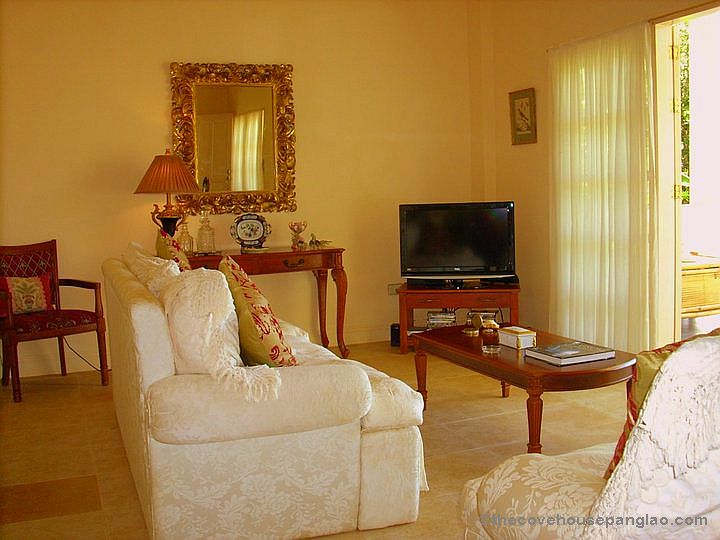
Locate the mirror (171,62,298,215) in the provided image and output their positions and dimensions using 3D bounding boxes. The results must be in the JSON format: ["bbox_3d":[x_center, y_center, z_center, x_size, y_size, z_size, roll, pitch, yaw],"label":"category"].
[{"bbox_3d":[-1.190,-1.210,5.342,1.486,1.676,0.070,-1,2,-26],"label":"mirror"}]

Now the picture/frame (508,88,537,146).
[{"bbox_3d":[1.560,-1.464,5.681,0.350,0.476,0.025,-18,20,-35],"label":"picture/frame"}]

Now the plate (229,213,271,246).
[{"bbox_3d":[-0.975,-0.340,5.216,0.260,0.313,0.240,0,6,28],"label":"plate"}]

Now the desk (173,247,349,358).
[{"bbox_3d":[-0.844,0.345,5.269,1.376,0.995,0.554,-6,9,-25],"label":"desk"}]

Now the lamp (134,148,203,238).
[{"bbox_3d":[-1.612,-0.597,4.974,0.522,0.679,0.529,6,10,22],"label":"lamp"}]

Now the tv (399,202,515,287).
[{"bbox_3d":[0.926,-0.235,5.448,0.790,0.548,0.079,-1,-2,3],"label":"tv"}]
